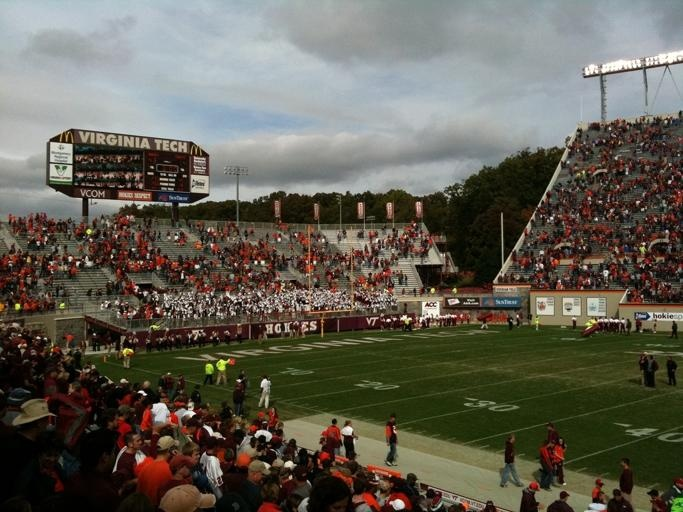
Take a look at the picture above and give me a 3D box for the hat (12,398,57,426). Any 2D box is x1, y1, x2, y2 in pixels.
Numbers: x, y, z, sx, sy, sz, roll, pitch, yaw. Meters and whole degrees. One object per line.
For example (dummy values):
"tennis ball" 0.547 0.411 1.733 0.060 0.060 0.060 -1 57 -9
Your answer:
"hat" -5.916 2.992 14.137 0.665 0.242 0.536 -6 5 -22

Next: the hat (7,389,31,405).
"hat" -6.643 2.920 15.199 0.329 0.188 0.427 3 -1 -4

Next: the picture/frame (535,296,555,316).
"picture/frame" 17.531 4.329 63.517 1.811 1.641 0.187 5 6 37

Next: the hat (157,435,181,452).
"hat" -3.589 3.914 15.263 0.318 0.235 0.458 5 9 41

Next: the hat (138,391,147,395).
"hat" -5.868 4.046 21.691 0.265 0.110 0.187 -8 -7 39
